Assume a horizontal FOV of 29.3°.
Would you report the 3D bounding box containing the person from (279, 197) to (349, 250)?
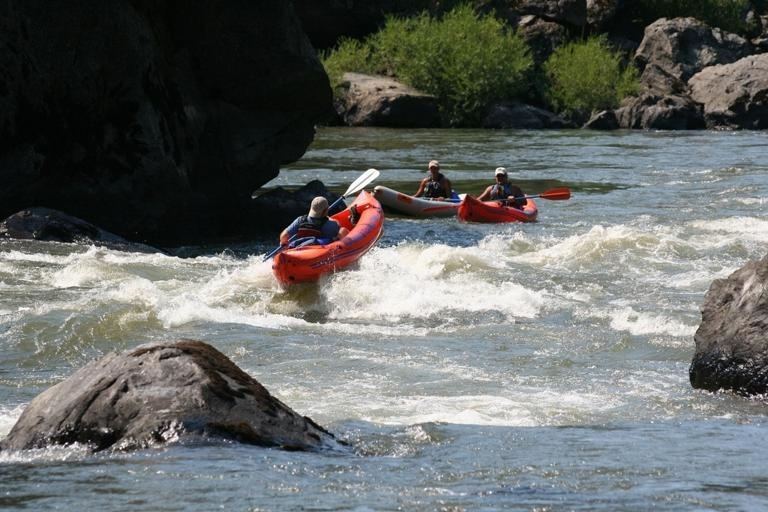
[{"bbox_3d":[-1.328,-0.567,27.959,0.915,0.422,1.292,9,25,17],"label":"person"}]
